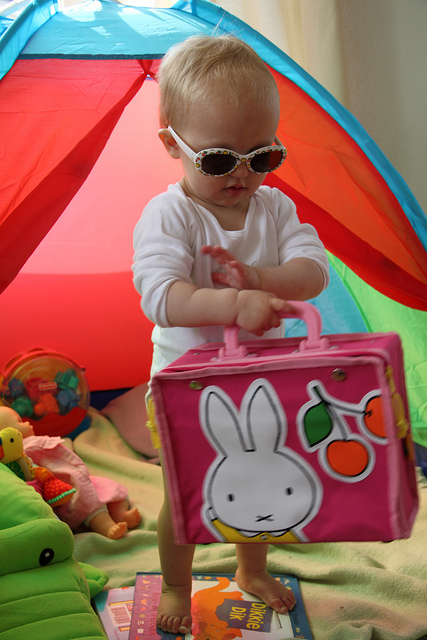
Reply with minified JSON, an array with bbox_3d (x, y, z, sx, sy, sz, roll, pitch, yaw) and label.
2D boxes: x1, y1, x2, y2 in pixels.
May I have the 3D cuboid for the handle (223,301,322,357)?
[{"bbox_3d":[0.066,0.009,0.602,0.118,0.061,0.039,-6,8,-4],"label":"handle"}]

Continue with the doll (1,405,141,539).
[{"bbox_3d":[-0.289,0.338,1.154,0.185,0.299,0.331,-27,41,-24],"label":"doll"}]

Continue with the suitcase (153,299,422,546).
[{"bbox_3d":[0.087,0.097,0.587,0.268,0.224,0.250,2,37,11],"label":"suitcase"}]
